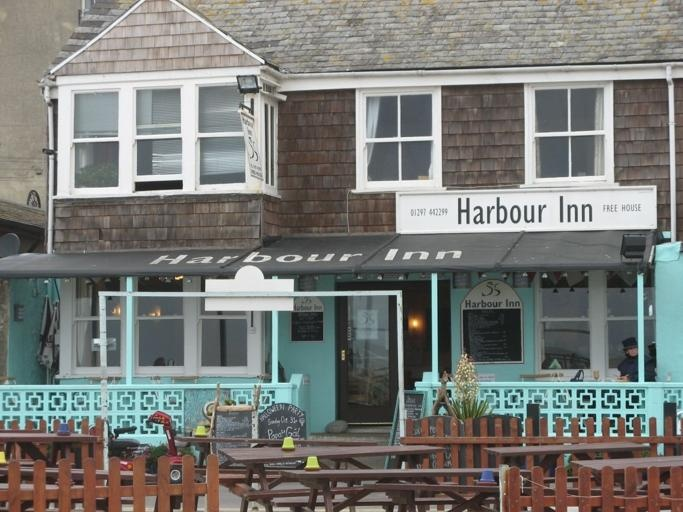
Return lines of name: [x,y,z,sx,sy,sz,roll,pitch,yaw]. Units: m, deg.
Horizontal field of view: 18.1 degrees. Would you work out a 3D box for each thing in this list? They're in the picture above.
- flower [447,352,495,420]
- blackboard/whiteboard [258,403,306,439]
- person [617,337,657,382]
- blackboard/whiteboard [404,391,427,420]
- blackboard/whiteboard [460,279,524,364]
flower: [2.248,2.395,37.753,0.604,1.211,0.700,-2,1,6]
blackboard/whiteboard: [-1.057,3.089,38.657,0.649,0.670,0.091,0,-7,0]
person: [5.483,2.051,40.065,0.542,0.917,0.689,14,-23,-39]
blackboard/whiteboard: [1.379,2.814,38.953,0.464,0.559,0.058,-9,-20,39]
blackboard/whiteboard: [2.906,1.370,41.137,1.213,1.674,0.063,-1,-17,1]
